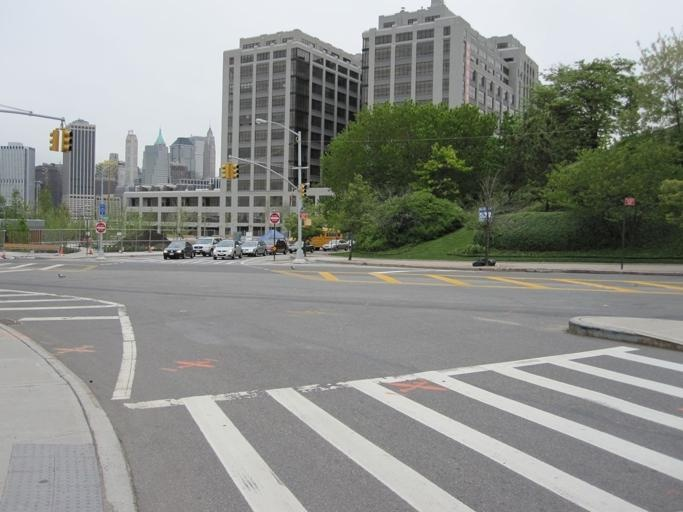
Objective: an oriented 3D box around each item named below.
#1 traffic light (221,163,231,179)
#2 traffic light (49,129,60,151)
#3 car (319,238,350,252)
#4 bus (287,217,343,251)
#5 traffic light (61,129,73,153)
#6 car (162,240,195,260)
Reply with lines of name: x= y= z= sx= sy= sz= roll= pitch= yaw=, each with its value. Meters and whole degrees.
traffic light: x=-8.080 y=-5.964 z=42.074 sx=0.490 sy=0.989 sz=2.268 roll=-1 pitch=3 yaw=-13
traffic light: x=-13.075 y=-5.294 z=27.662 sx=0.371 sy=0.960 sz=1.208 roll=-1 pitch=3 yaw=-25
car: x=-0.511 y=-1.399 z=72.721 sx=1.403 sy=1.104 sz=3.175 roll=-2 pitch=-4 yaw=28
bus: x=-3.351 y=-2.528 z=78.755 sx=3.899 sy=3.562 sz=7.213 roll=0 pitch=-6 yaw=-5
traffic light: x=-12.838 y=-5.473 z=28.251 sx=0.429 sy=1.175 sz=1.668 roll=-1 pitch=3 yaw=-26
car: x=-13.067 y=-0.516 z=48.477 sx=1.195 sy=1.017 sz=2.798 roll=-1 pitch=-3 yaw=-4
